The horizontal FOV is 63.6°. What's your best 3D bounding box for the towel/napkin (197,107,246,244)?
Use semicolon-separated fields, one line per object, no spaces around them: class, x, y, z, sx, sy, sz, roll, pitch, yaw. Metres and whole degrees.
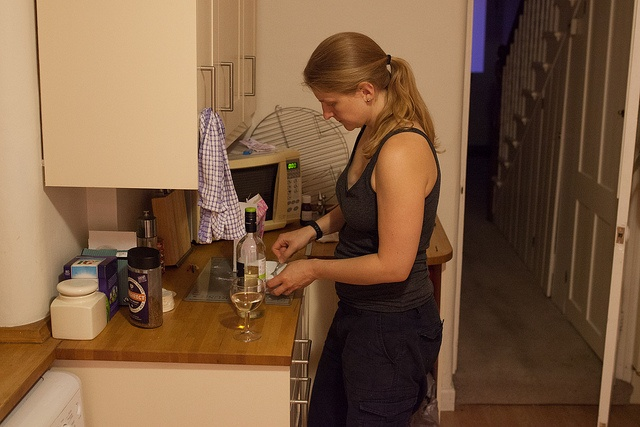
towel/napkin;-0.379;-0.222;1.916;0.148;0.367;0.113;-7;34;-14

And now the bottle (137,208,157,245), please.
bottle;-0.664;0.074;1.986;0.078;0.142;0.151;-7;16;-20

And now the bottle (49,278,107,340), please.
bottle;-0.829;0.320;1.853;0.188;0.230;0.193;1;6;1
